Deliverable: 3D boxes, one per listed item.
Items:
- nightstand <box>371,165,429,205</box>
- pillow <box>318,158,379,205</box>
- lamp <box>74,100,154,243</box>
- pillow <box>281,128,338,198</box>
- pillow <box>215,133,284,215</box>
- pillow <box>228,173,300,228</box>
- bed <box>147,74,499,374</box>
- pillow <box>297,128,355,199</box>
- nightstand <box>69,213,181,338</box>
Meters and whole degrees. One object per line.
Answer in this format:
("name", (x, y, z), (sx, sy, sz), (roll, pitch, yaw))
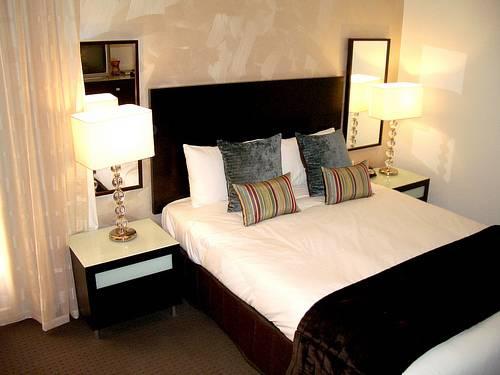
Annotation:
("nightstand", (1.706, -0.059, 4.361), (0.543, 0.539, 0.367), (-22, 34, -36))
("pillow", (0.901, -0.042, 3.545), (0.518, 0.336, 0.173), (-10, 4, -23))
("lamp", (-0.993, -0.102, 2.936), (0.578, 1.005, 0.388), (-10, 19, -25))
("pillow", (0.519, -0.195, 3.534), (0.551, 0.531, 0.166), (-11, 8, -36))
("pillow", (-0.006, -0.088, 3.236), (0.555, 0.520, 0.276), (-14, 29, -27))
("pillow", (0.147, 0.095, 3.168), (0.539, 0.306, 0.195), (-11, 19, -27))
("bed", (0.266, 0.319, 3.524), (2.115, 1.793, 2.121), (-15, 31, -30))
("pillow", (0.663, -0.237, 3.602), (0.593, 0.581, 0.179), (-9, -4, -31))
("nightstand", (-0.999, 0.720, 3.165), (0.786, 0.602, 0.739), (-13, 17, -39))
